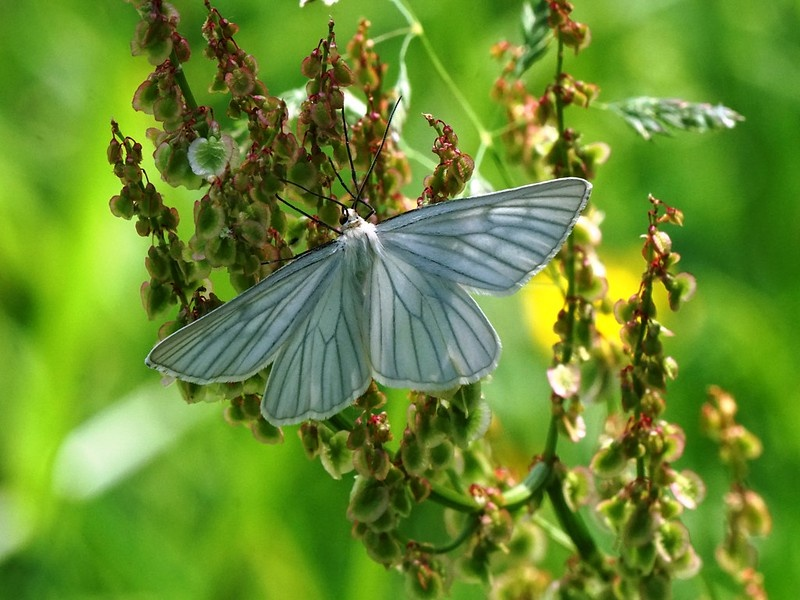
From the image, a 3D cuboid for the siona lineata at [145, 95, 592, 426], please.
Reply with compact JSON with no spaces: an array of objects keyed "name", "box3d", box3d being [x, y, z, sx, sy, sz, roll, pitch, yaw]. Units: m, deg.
[{"name":"siona lineata","box3d":[-0.014,0.000,1.624,0.617,0.173,0.464,-21,-73,-3]}]
